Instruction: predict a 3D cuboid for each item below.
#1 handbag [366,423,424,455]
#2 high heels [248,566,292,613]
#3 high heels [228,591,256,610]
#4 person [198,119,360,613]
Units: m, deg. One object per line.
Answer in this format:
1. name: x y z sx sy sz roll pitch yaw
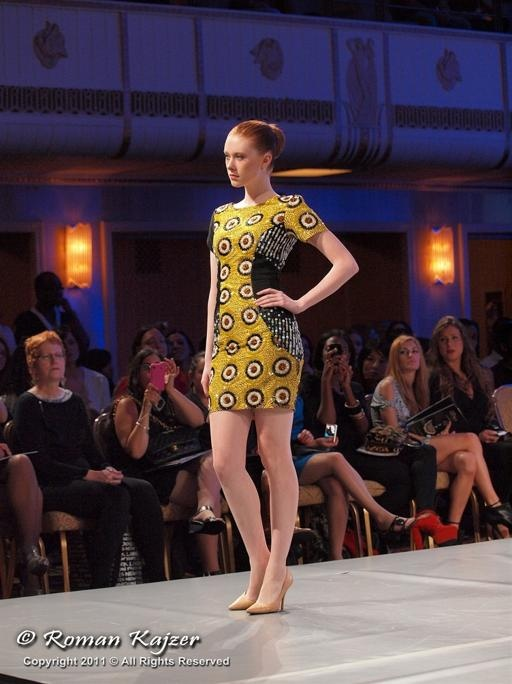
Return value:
1. handbag: 0.817 0.575 4.326 0.271 0.073 0.194 -2 3 20
2. high heels: 0.048 0.711 2.058 0.172 0.102 0.067 0 -6 -25
3. high heels: -0.036 0.730 2.068 0.035 0.030 0.088 -17 -4 40
4. person: 0.060 0.033 2.127 0.515 1.441 0.293 -6 -12 13
